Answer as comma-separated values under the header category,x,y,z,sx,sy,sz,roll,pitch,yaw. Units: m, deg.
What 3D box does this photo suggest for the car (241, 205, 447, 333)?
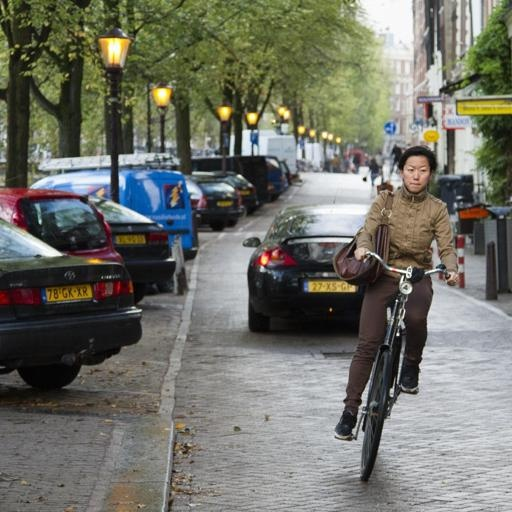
category,x,y,z,sx,sy,sz,roll,pitch,yaw
car,0.686,0.137,7.105,1.371,0.898,2.133,0,7,-1

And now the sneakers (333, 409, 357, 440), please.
category,x,y,z,sx,sy,sz,roll,pitch,yaw
sneakers,0.483,0.906,4.270,0.074,0.099,0.222,8,6,11

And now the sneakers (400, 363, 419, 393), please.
category,x,y,z,sx,sy,sz,roll,pitch,yaw
sneakers,0.898,0.711,4.644,0.080,0.106,0.237,4,12,9

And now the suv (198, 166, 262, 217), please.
category,x,y,z,sx,sy,sz,roll,pitch,yaw
suv,-1.186,-2.719,32.587,2.895,1.155,1.378,3,6,36

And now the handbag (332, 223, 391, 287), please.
category,x,y,z,sx,sy,sz,roll,pitch,yaw
handbag,0.613,0.031,4.411,0.244,0.371,0.119,32,-6,34

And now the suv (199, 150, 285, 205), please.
category,x,y,z,sx,sy,sz,roll,pitch,yaw
suv,-0.908,-3.825,38.546,3.636,1.788,2.631,3,5,30
